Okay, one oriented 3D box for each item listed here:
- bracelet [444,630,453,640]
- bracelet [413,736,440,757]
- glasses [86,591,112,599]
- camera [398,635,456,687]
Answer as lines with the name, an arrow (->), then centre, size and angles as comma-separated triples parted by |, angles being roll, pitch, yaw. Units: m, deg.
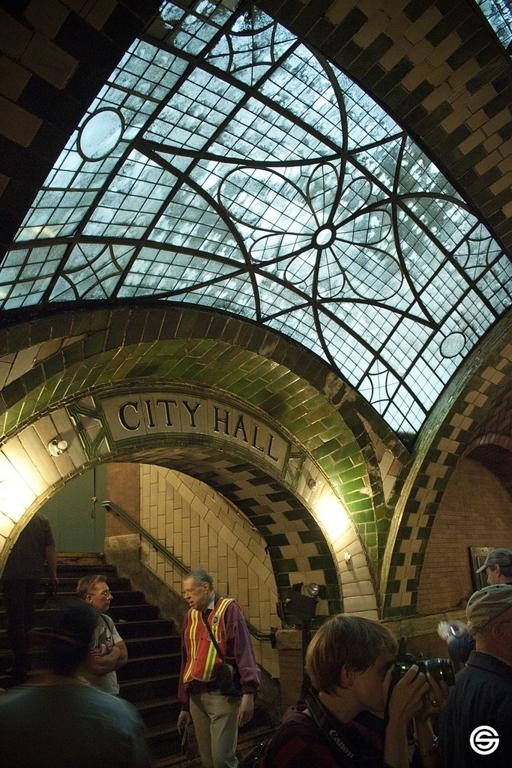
bracelet -> 1.414, 1.841, 4.251 | 0.062, 0.080, 0.082 | 0, -36, 10
bracelet -> 0.671, 1.434, 2.291 | 0.086, 0.022, 0.091 | -7, -17, 30
glasses -> -1.317, 1.775, 4.833 | 0.119, 0.036, 0.119 | -2, -15, 8
camera -> 0.687, 1.131, 2.308 | 0.256, 0.156, 0.233 | 10, -19, 5
